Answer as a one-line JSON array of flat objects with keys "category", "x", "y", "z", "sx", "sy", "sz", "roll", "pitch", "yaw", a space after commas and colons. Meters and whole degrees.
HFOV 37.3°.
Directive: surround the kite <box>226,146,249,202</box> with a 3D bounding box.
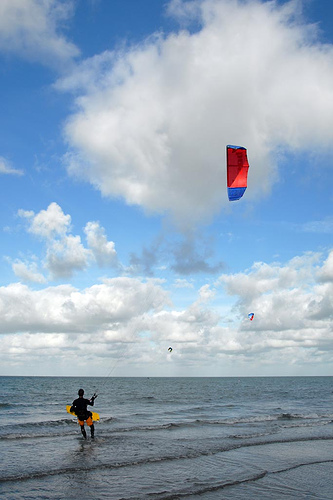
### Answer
[{"category": "kite", "x": 2.119, "y": -2.272, "z": 14.767, "sx": 0.596, "sy": 1.376, "sz": 0.944, "roll": -2, "pitch": -12, "yaw": 6}]
